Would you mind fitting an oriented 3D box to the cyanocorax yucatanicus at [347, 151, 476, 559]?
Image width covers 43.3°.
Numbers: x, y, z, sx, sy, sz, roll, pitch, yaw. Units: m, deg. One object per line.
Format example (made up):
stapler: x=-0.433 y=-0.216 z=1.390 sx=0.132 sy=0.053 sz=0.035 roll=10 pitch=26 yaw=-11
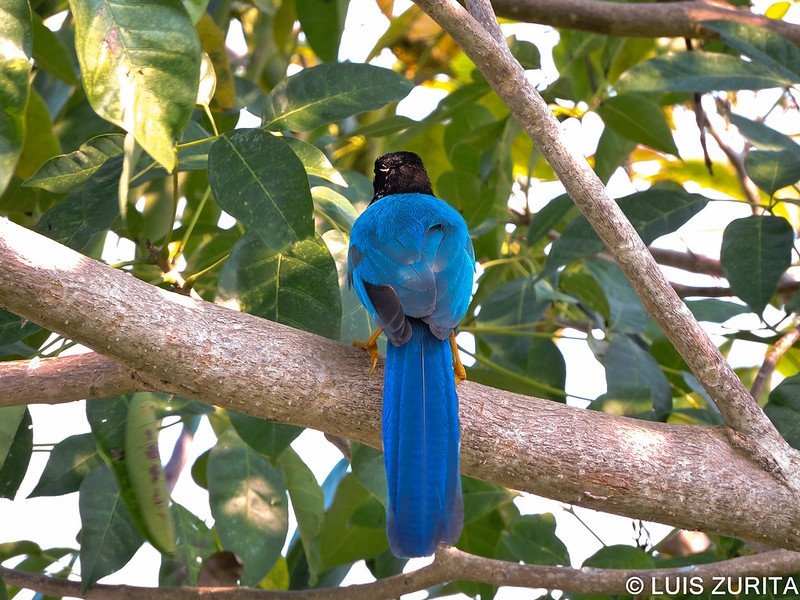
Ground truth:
cyanocorax yucatanicus: x=0.005 y=0.116 z=3.847 sx=0.411 sy=1.501 sz=0.643 roll=-5 pitch=-38 yaw=-1
